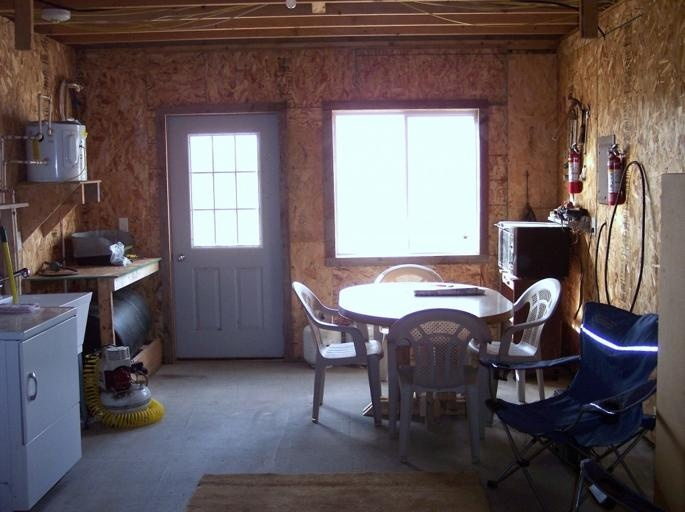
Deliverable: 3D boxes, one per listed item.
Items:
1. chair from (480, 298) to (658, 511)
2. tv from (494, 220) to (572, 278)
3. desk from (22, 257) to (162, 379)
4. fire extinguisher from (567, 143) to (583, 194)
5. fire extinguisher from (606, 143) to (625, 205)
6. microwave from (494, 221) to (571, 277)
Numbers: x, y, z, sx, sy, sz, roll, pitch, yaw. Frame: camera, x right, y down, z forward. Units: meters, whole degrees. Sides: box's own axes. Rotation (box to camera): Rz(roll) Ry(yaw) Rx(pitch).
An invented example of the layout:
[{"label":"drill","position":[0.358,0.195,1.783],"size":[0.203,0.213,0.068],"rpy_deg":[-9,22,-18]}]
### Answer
[{"label":"chair","position":[1.318,0.892,3.656],"size":[0.988,1.174,1.043],"rpy_deg":[-3,-7,27]},{"label":"tv","position":[1.748,-0.052,5.391],"size":[0.485,0.483,0.701],"rpy_deg":[0,3,7]},{"label":"desk","position":[-2.194,0.602,5.231],"size":[0.761,1.084,1.204],"rpy_deg":[0,8,3]},{"label":"fire extinguisher","position":[2.085,-0.784,5.147],"size":[0.124,0.460,0.262],"rpy_deg":[3,9,22]},{"label":"fire extinguisher","position":[2.072,-0.621,4.348],"size":[0.115,0.441,0.201],"rpy_deg":[0,8,5]},{"label":"microwave","position":[1.738,-0.060,5.277],"size":[0.440,0.452,0.635],"rpy_deg":[0,3,-3]}]
